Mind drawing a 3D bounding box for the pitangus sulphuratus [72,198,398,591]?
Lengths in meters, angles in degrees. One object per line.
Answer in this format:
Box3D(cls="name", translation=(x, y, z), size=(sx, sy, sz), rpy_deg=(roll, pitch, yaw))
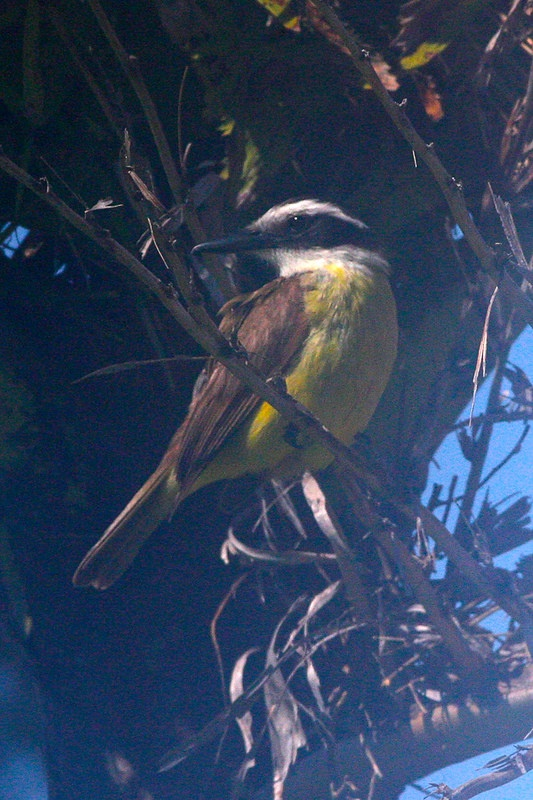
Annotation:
Box3D(cls="pitangus sulphuratus", translation=(-0.037, -0.015, 1.072), size=(0.402, 0.348, 0.213), rpy_deg=(-14, -12, 18))
